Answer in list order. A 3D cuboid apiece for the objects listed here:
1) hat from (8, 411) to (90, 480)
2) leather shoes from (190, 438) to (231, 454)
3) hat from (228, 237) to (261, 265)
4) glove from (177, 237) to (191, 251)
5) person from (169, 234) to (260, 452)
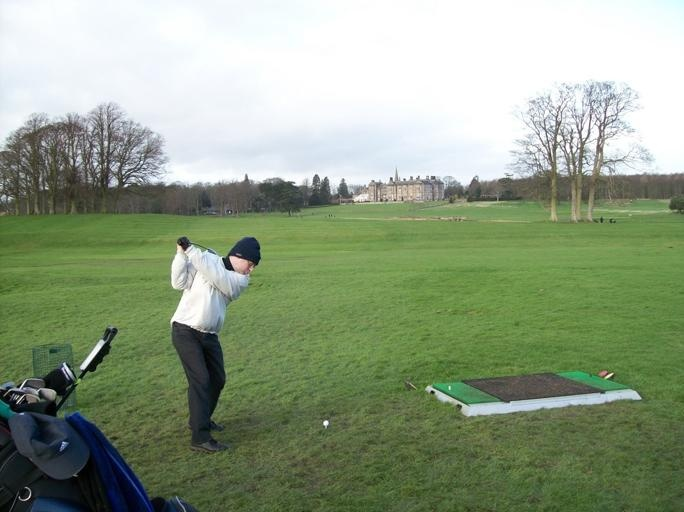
[{"bbox_3d":[-1.926,1.233,3.546,0.416,0.461,0.203,-11,15,-28],"label":"hat"},{"bbox_3d":[-1.527,2.156,6.136,0.382,0.157,0.164,1,-1,-3],"label":"leather shoes"},{"bbox_3d":[-1.154,-0.080,6.440,0.384,0.333,0.288,1,1,17],"label":"hat"},{"bbox_3d":[-1.785,-0.159,5.941,0.161,0.127,0.165,1,11,-44],"label":"glove"},{"bbox_3d":[-1.469,0.933,6.267,0.974,2.430,0.724,-9,14,-19],"label":"person"}]
